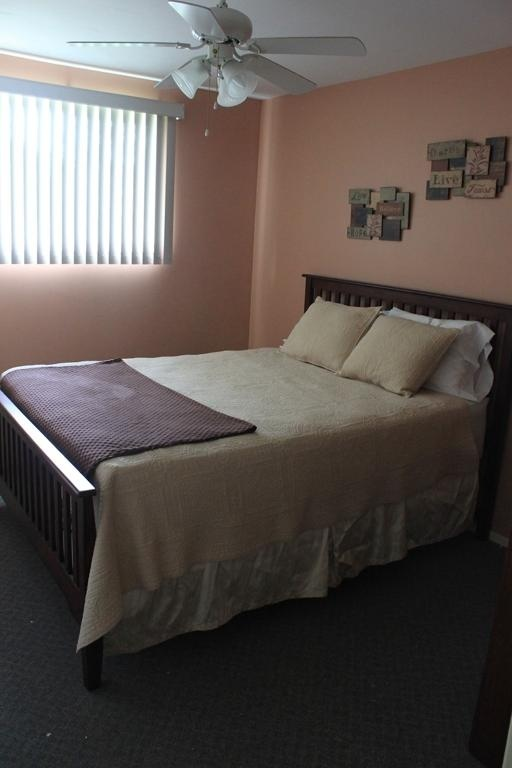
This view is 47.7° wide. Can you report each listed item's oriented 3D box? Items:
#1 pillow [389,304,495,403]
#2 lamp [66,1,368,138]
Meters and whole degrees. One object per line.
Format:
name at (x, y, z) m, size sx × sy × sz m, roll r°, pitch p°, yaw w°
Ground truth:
pillow at (0.970, -0.130, 2.688) m, size 0.309 × 0.385 × 0.110 m, roll 12°, pitch -4°, yaw 25°
lamp at (-0.226, -1.488, 2.755) m, size 0.904 × 0.464 × 0.953 m, roll 8°, pitch 13°, yaw 29°
